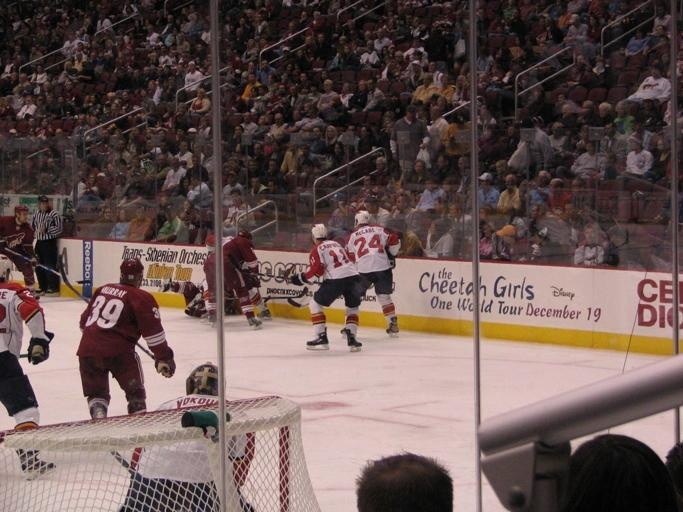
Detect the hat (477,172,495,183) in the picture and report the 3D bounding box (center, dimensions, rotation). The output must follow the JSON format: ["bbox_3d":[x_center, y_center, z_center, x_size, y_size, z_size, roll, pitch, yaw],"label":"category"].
[{"bbox_3d":[1.812,-0.969,13.628,0.172,0.164,0.397,-1,-3,8],"label":"hat"}]

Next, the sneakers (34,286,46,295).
[{"bbox_3d":[-4.622,0.561,16.946,0.241,0.168,0.083,-4,-2,34],"label":"sneakers"}]

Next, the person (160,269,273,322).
[{"bbox_3d":[-1.683,0.595,14.626,1.035,0.456,0.746,-2,6,-21],"label":"person"}]

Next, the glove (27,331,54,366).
[{"bbox_3d":[-2.277,0.719,8.331,0.109,0.278,0.197,18,-8,0],"label":"glove"}]

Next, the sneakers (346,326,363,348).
[{"bbox_3d":[0.154,0.941,12.313,0.108,0.121,0.282,-6,39,-13],"label":"sneakers"}]

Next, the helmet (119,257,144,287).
[{"bbox_3d":[-1.621,0.139,8.543,0.174,0.227,0.225,4,7,-5],"label":"helmet"}]

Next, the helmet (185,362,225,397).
[{"bbox_3d":[-0.877,0.834,7.206,0.224,0.266,0.292,7,17,2],"label":"helmet"}]

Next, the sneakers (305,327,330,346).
[{"bbox_3d":[-0.267,0.957,12.552,0.275,0.269,0.132,2,4,2],"label":"sneakers"}]

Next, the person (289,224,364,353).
[{"bbox_3d":[-0.139,0.359,12.646,0.743,1.462,0.842,-1,-3,-2],"label":"person"}]

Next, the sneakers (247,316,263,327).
[{"bbox_3d":[-1.088,0.847,13.919,0.076,0.096,0.221,-2,12,-28],"label":"sneakers"}]

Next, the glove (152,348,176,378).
[{"bbox_3d":[-1.364,0.849,8.546,0.170,0.226,0.090,7,24,21],"label":"glove"}]

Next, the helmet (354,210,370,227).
[{"bbox_3d":[0.251,-0.427,13.122,0.159,0.200,0.210,-1,17,-10],"label":"helmet"}]

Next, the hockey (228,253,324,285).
[{"bbox_3d":[-0.816,0.188,13.974,1.856,0.092,0.092,6,13,29],"label":"hockey"}]

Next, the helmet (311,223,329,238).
[{"bbox_3d":[-0.215,-0.265,12.639,0.170,0.218,0.202,-2,12,-13],"label":"helmet"}]

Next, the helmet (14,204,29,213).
[{"bbox_3d":[-4.375,-0.618,15.069,0.153,0.122,0.119,-3,11,18],"label":"helmet"}]

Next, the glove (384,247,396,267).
[{"bbox_3d":[0.595,0.025,12.967,0.082,0.211,0.162,-5,15,-2],"label":"glove"}]

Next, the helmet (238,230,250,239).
[{"bbox_3d":[-1.254,-0.261,14.218,0.114,0.092,0.113,12,15,-21],"label":"helmet"}]

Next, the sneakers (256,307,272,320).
[{"bbox_3d":[-1.005,0.749,14.449,0.098,0.198,0.200,-13,28,-23],"label":"sneakers"}]

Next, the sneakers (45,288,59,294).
[{"bbox_3d":[-4.401,0.558,16.831,0.182,0.079,0.067,3,13,-8],"label":"sneakers"}]

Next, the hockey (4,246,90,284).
[{"bbox_3d":[-4.148,0.141,15.535,1.177,0.281,0.068,26,23,26],"label":"hockey"}]
